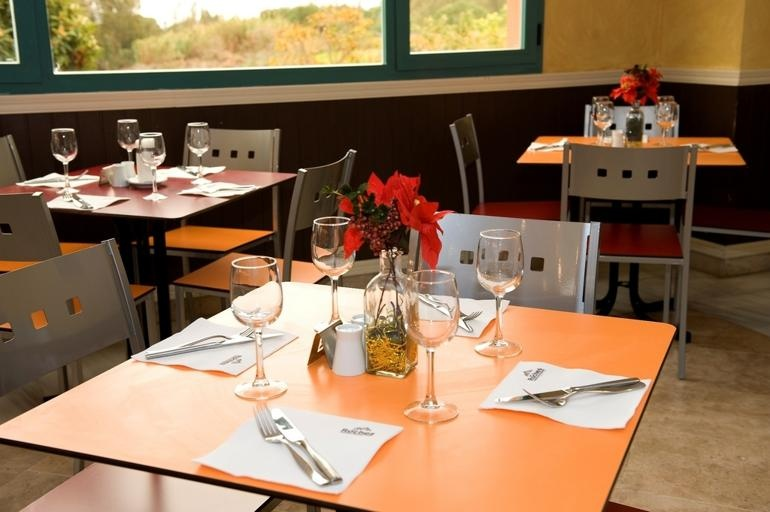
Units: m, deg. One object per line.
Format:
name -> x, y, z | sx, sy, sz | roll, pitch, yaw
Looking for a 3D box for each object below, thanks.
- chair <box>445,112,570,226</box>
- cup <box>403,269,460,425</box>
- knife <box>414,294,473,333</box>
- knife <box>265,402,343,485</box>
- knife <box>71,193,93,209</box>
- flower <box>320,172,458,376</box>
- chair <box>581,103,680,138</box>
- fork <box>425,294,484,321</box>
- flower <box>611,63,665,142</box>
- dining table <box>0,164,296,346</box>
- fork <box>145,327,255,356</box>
chair -> 0.846, -0.389, 3.824 | 0.671, 1.080, 0.647 | -3, 2, -18
cup -> 0.092, 0.191, 1.144 | 0.146, 0.382, 0.160 | -1, 21, -2
knife -> 0.116, 0.120, 1.142 | 0.161, 0.014, 0.055 | 26, 53, 28
knife -> -0.151, 0.346, 1.028 | 0.054, 0.025, 0.334 | -13, 21, -19
knife -> -1.403, -0.254, 2.592 | 0.046, 0.025, 0.136 | -29, 41, -35
flower -> -0.019, -0.009, 1.502 | 0.366, 0.573, 0.387 | 12, 19, 41
chair -> 1.630, -0.894, 3.706 | 0.360, 0.307, 0.236 | 1, 10, 11
fork -> 0.155, 0.117, 1.244 | 0.150, 0.023, 0.017 | 27, 51, 31
flower -> 1.505, -0.907, 3.401 | 0.245, 0.434, 0.248 | 6, 16, 34
dining table -> -1.133, -0.283, 2.944 | 0.969, 0.993, 1.020 | 11, 25, 19
fork -> -0.438, 0.214, 1.391 | 0.276, 0.014, 0.083 | -9, 22, -17
